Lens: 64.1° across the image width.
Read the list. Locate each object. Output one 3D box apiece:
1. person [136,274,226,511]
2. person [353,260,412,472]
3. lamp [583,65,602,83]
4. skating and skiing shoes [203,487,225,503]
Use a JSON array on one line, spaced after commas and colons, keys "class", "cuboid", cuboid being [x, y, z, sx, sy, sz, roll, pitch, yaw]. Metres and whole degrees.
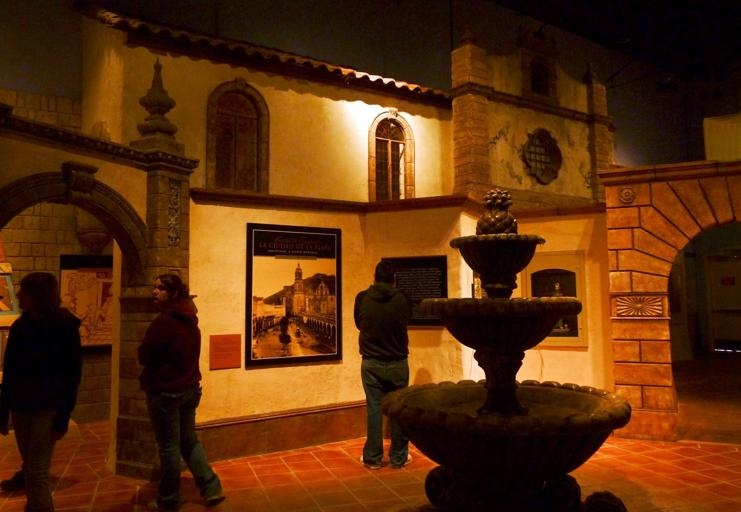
[{"class": "person", "cuboid": [-2.358, 1.671, 7.245, 0.879, 2.943, 0.394, -1, 0, -22]}, {"class": "person", "cuboid": [0.188, 1.532, 8.501, 0.798, 2.588, 0.320, -1, 0, -2]}, {"class": "lamp", "cuboid": [6.314, -5.240, 17.073, 0.410, 0.458, 0.381, -1, 0, 21]}, {"class": "skating and skiing shoes", "cuboid": [-1.935, 2.968, 7.325, 0.181, 0.162, 0.220, -4, -7, 17]}]
